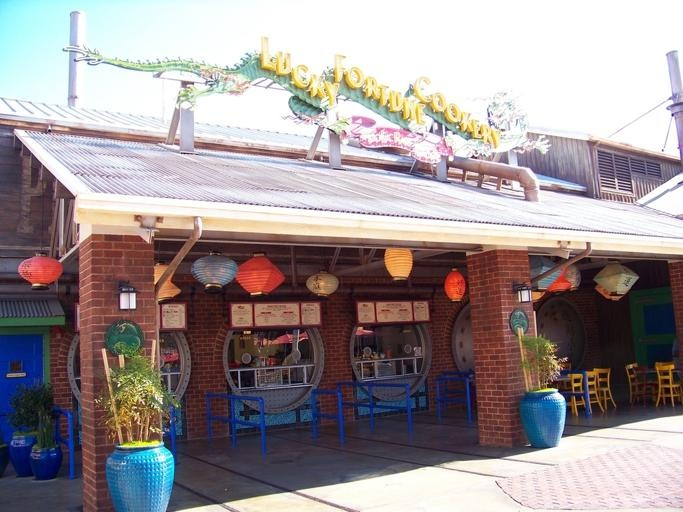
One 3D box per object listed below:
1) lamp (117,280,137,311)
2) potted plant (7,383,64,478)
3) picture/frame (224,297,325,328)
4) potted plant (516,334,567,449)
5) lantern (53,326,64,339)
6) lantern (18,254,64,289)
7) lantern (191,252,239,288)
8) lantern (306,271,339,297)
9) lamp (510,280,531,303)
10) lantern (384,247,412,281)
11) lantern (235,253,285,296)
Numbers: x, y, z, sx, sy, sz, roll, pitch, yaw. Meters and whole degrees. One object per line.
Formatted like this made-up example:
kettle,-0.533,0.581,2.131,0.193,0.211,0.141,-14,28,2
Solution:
lamp,-2.849,0.511,8.043,0.241,0.398,0.242,-1,-6,-20
potted plant,-5.223,2.996,10.419,0.968,1.525,0.639,-8,-8,39
picture/frame,-1.504,1.315,13.868,2.167,0.621,0.087,0,-7,-27
potted plant,3.458,2.278,10.573,0.771,1.975,0.602,-2,-6,-19
lantern,-5.563,1.474,11.849,0.174,0.214,0.075,4,-7,-21
lantern,-4.751,0.246,9.566,0.626,0.505,0.605,-6,-6,38
lantern,-1.902,0.214,9.008,0.574,0.392,0.554,0,-13,-1
lantern,-0.347,0.510,11.614,0.546,0.339,0.521,0,-14,4
lamp,3.309,0.656,11.022,0.395,0.397,0.146,0,-7,-32
lantern,1.051,0.141,10.677,0.553,0.606,0.529,3,-7,-31
lantern,-1.329,0.308,9.707,0.596,0.705,0.587,4,-2,-28
